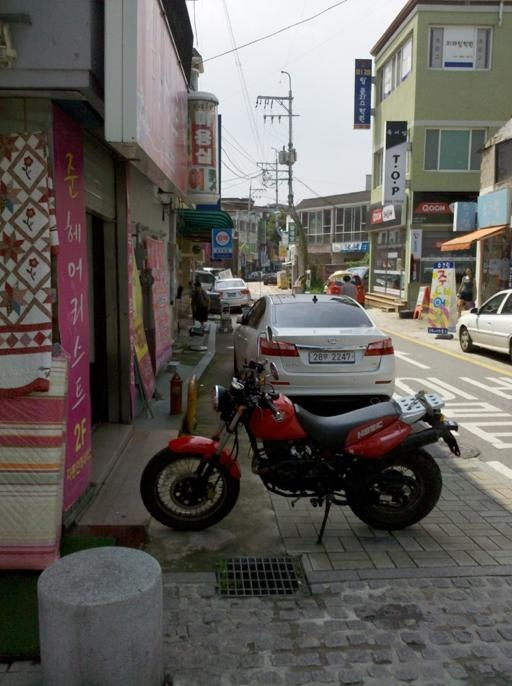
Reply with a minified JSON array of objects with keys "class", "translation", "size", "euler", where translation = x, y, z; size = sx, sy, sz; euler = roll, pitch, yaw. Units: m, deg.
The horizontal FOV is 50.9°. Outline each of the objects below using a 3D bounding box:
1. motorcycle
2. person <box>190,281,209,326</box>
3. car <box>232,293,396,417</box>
[{"class":"motorcycle","translation":[0.356,0.760,4.385],"size":[2.264,1.407,1.155],"euler":[1,3,0]},{"class":"person","translation":[-2.046,-1.519,19.735],"size":[0.552,1.584,2.204],"euler":[2,4,-7]},{"class":"car","translation":[0.667,-0.004,7.226],"size":[1.078,0.878,2.559],"euler":[0,10,-5]}]
